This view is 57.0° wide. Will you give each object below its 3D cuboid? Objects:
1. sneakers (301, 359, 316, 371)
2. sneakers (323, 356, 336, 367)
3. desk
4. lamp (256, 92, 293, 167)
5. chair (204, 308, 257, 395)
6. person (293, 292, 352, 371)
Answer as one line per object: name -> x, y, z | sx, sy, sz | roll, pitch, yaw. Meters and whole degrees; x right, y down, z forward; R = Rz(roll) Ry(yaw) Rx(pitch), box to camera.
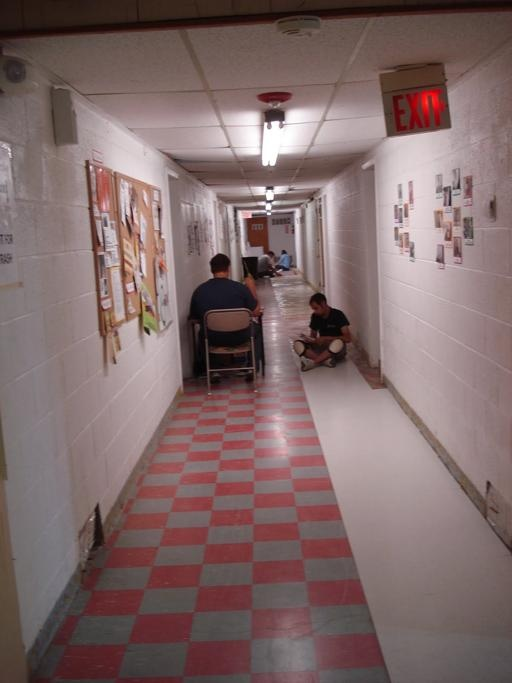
sneakers -> 0.630, 0.273, 5.657 | 0.176, 0.137, 0.238 | -3, 6, 7
sneakers -> 0.893, 0.247, 5.750 | 0.147, 0.122, 0.126 | -3, 6, 7
desk -> -0.260, 0.000, 5.200 | 0.681, 1.169, 0.785 | -1, 18, 2
lamp -> 0.106, -1.390, 3.126 | 0.215, 0.443, 0.208 | 11, 31, 11
chair -> -0.262, 0.096, 4.993 | 0.452, 0.918, 0.554 | -2, -1, -5
person -> 0.798, -0.141, 5.779 | 0.655, 0.900, 0.549 | -3, 6, 0
